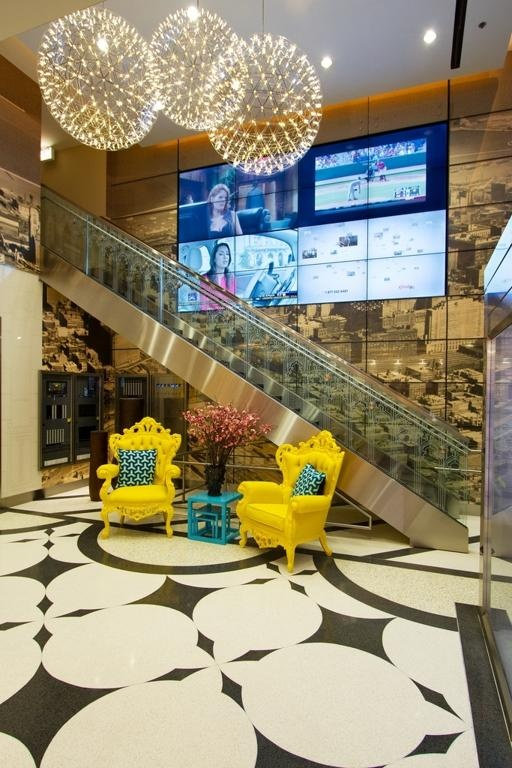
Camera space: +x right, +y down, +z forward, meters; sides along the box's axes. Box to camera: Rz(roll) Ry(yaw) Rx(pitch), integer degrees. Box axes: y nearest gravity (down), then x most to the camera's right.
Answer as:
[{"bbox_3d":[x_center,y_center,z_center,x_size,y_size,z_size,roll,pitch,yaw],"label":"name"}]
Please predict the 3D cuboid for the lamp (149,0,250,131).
[{"bbox_3d":[-0.385,-2.033,3.625,0.636,0.813,0.282,-9,20,-2],"label":"lamp"}]

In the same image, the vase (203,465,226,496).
[{"bbox_3d":[-0.438,0.962,5.493,0.242,0.365,0.261,3,0,-13],"label":"vase"}]

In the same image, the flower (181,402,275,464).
[{"bbox_3d":[-0.336,0.426,5.667,0.882,0.805,1.055,4,6,5],"label":"flower"}]

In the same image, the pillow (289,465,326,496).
[{"bbox_3d":[0.440,0.770,4.780,0.194,0.355,0.388,-3,6,-27],"label":"pillow"}]

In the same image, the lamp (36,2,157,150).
[{"bbox_3d":[-0.987,-1.913,3.620,0.796,0.870,0.338,18,40,-5],"label":"lamp"}]

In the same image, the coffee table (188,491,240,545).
[{"bbox_3d":[-0.401,1.313,5.375,0.439,0.467,0.450,0,1,40],"label":"coffee table"}]

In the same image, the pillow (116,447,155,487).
[{"bbox_3d":[-1.272,0.883,5.718,0.350,0.396,0.138,-2,-23,-12],"label":"pillow"}]
